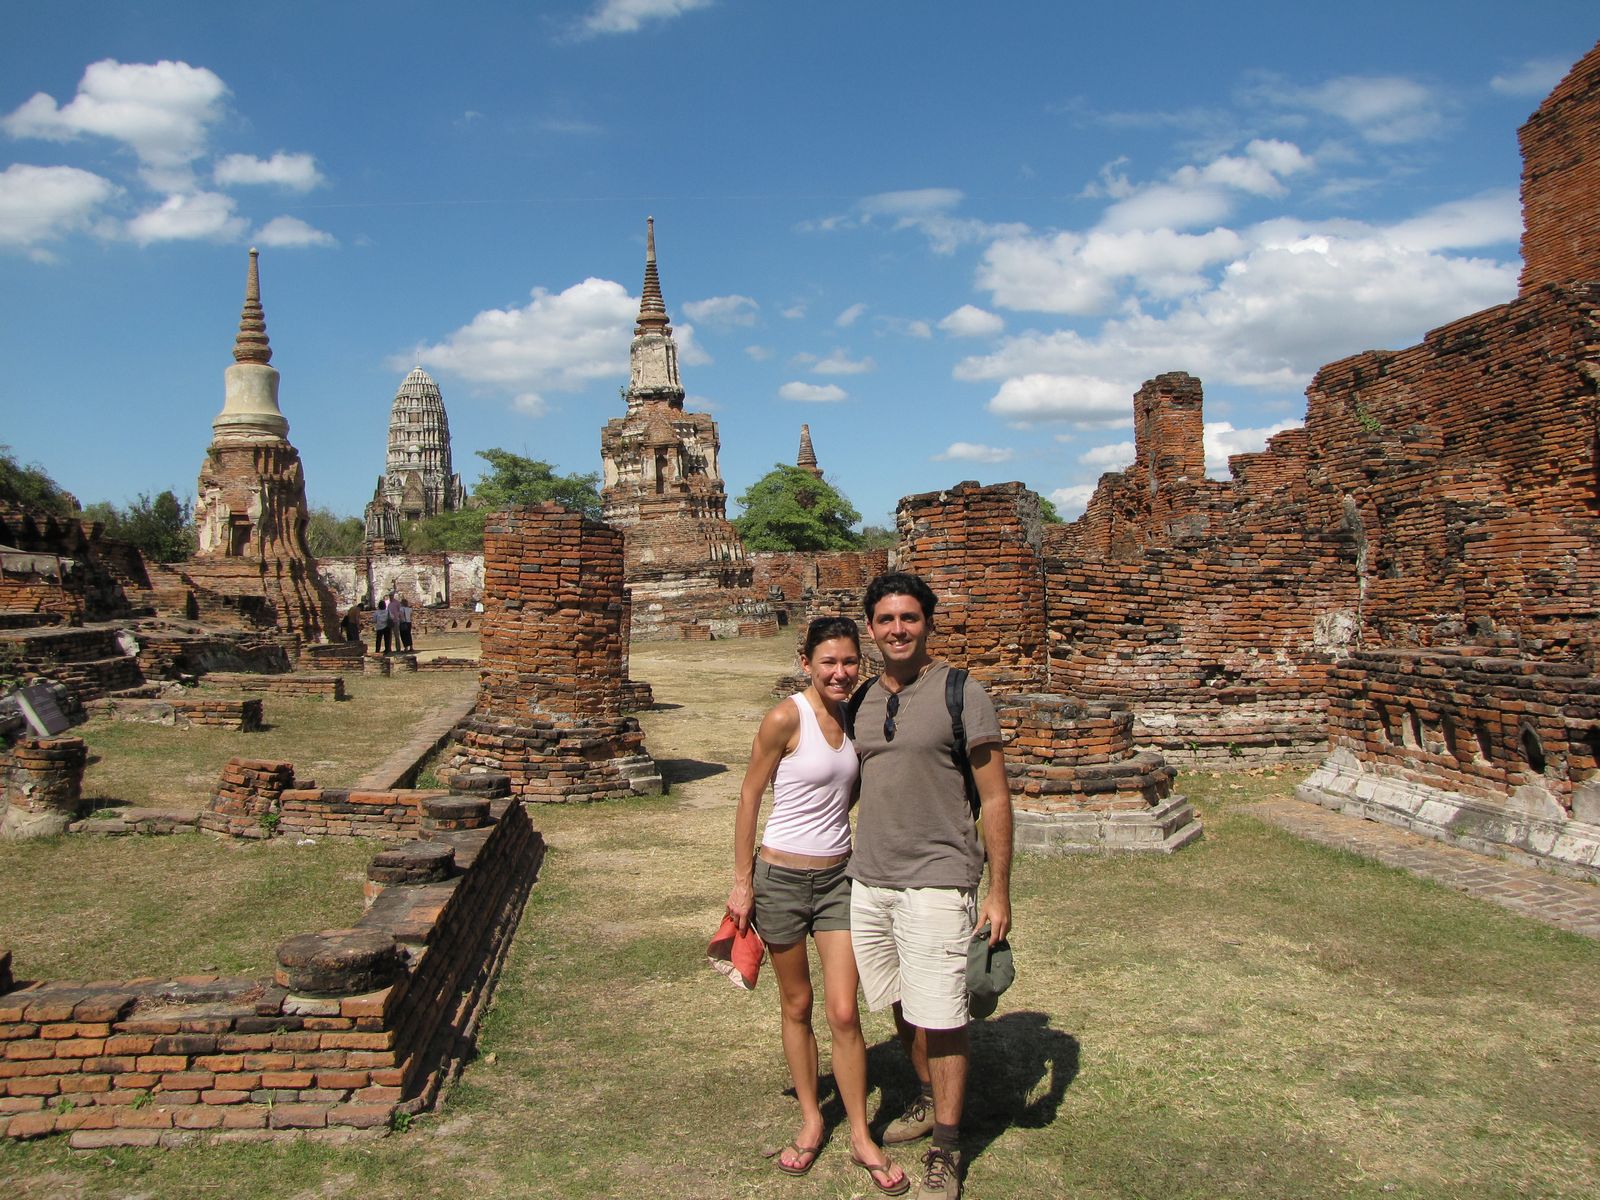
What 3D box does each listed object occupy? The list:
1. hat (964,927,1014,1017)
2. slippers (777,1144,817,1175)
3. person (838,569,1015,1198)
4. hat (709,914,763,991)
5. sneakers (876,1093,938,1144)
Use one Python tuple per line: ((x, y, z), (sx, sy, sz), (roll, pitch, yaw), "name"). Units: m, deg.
((0.881, 1.787, 5.097), (0.196, 0.447, 0.208), (2, 11, 8), "hat")
((-0.006, 2.717, 5.239), (0.208, 0.115, 0.119), (-1, 11, -8), "slippers")
((0.597, 1.335, 5.209), (0.665, 2.829, 1.015), (-4, 12, -22), "person")
((-0.313, 1.719, 5.289), (0.227, 0.376, 0.204), (3, 11, 12), "hat")
((0.557, 2.655, 5.468), (0.139, 0.126, 0.356), (-14, -17, 42), "sneakers")
